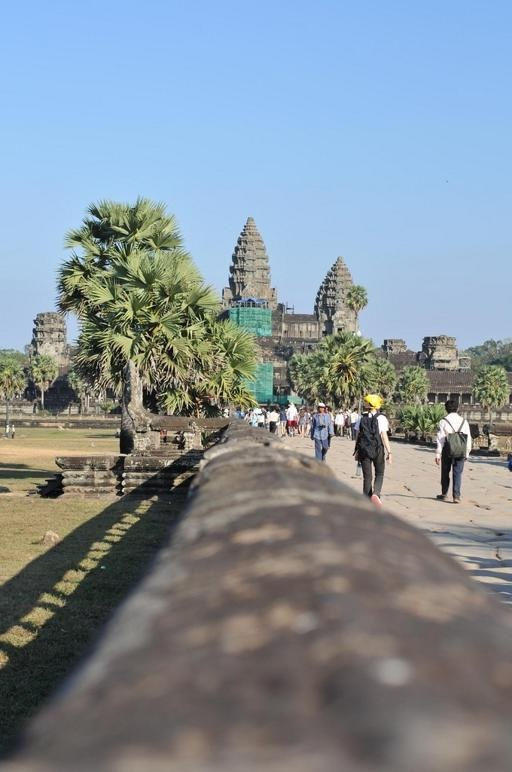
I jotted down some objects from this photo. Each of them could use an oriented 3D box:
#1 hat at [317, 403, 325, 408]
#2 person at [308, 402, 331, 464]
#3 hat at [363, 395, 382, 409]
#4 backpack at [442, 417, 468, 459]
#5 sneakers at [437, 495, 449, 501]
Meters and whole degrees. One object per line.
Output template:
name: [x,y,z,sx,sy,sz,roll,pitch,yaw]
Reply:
hat: [1.377,0.389,14.711,0.182,0.106,0.264,0,-5,0]
person: [1.361,0.949,14.657,0.413,1.100,1.630,3,1,5]
hat: [1.514,0.178,8.987,0.169,0.122,0.248,5,17,-2]
backpack: [2.895,0.762,10.076,0.343,0.577,0.250,3,1,16]
sneakers: [2.706,1.606,10.102,0.060,0.078,0.174,1,-6,-10]
